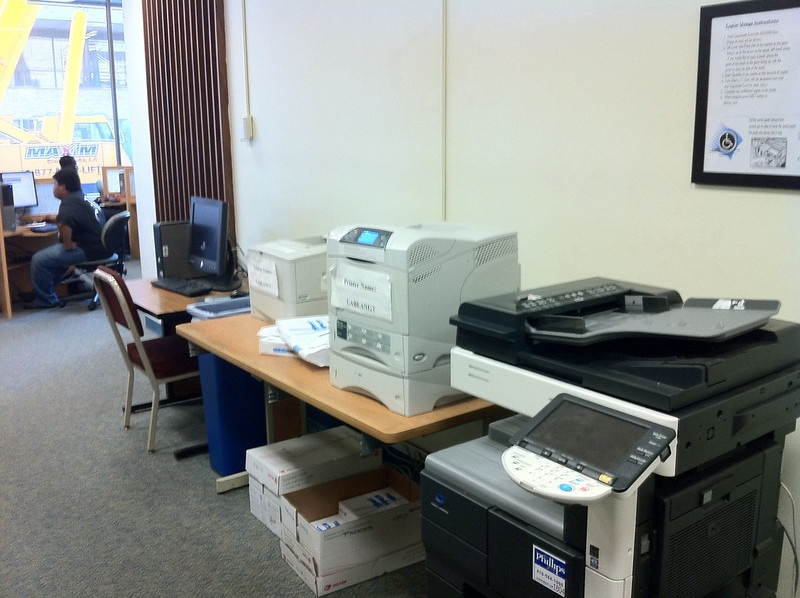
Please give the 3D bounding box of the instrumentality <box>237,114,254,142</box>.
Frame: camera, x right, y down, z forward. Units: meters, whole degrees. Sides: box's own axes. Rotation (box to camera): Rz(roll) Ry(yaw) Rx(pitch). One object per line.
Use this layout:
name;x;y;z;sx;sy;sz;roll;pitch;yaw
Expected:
instrumentality;-1.000;-1.114;4.243;0.046;0.163;0.162;-12;19;-33

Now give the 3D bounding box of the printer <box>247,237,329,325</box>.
printer;-0.563;-0.054;3.262;0.405;0.390;0.419;-10;17;-32

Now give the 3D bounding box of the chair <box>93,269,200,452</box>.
chair;-1.383;0.326;3.910;0.718;1.062;0.582;-8;14;-35

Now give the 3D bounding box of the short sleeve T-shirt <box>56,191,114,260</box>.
short sleeve T-shirt;-3.203;-0.797;6.779;0.538;0.682;0.365;-19;-1;-41

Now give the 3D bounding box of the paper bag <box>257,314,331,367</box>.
paper bag;-0.432;0.167;2.779;0.236;0.059;0.239;12;23;36

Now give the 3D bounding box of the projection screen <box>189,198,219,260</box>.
projection screen;-1.227;-0.429;4.124;0.035;0.424;0.422;-3;12;-41

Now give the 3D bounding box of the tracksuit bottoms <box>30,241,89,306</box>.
tracksuit bottoms;-3.603;-0.320;6.910;0.654;0.760;0.439;-5;26;-31

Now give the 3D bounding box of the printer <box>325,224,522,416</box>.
printer;0.021;0.011;2.538;0.707;0.793;0.561;-6;10;-38

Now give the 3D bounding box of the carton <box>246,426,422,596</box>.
carton;-0.339;0.851;2.856;0.701;0.340;0.705;-9;17;-34
